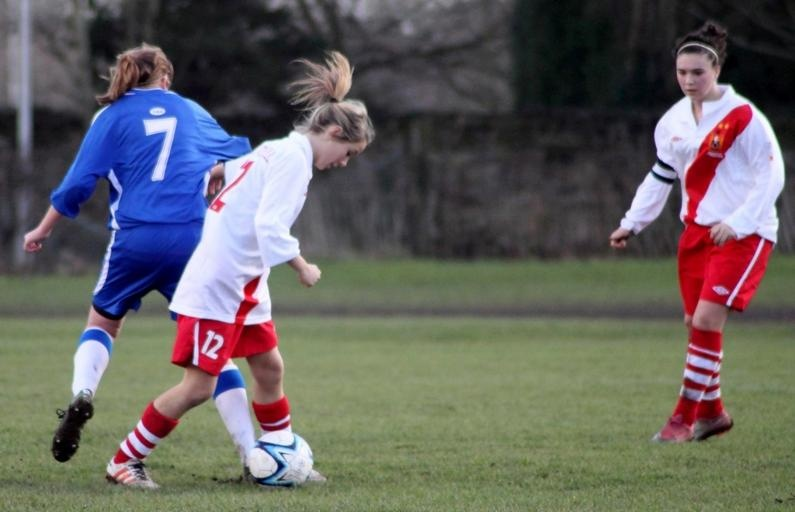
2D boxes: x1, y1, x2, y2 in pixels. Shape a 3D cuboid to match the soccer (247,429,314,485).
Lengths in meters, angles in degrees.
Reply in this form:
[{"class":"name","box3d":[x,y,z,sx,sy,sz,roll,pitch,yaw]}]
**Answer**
[{"class":"soccer","box3d":[-1.278,2.253,15.324,0.767,0.564,0.604,-1,44,-1]}]
